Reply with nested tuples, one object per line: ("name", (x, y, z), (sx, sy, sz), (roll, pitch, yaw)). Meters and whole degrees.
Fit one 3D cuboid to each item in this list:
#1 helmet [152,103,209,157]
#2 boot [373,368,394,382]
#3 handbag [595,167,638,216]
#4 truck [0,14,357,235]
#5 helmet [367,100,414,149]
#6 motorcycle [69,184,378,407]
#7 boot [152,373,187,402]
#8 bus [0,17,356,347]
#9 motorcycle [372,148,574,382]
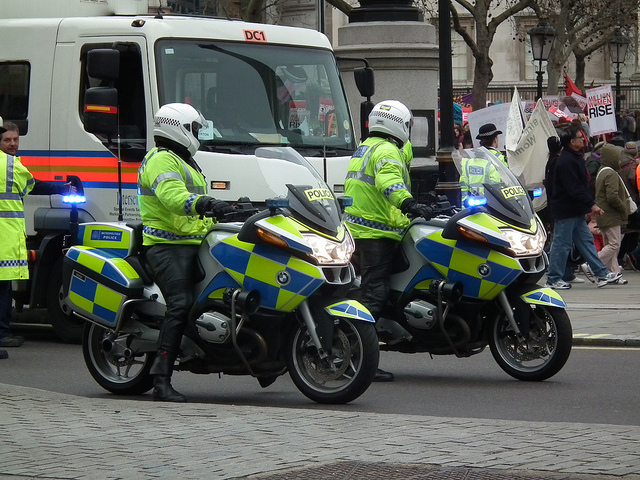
("helmet", (-1.199, -0.975, 6.736), (0.496, 0.476, 0.382), (3, 4, -22))
("boot", (0.627, 1.333, 7.658), (0.205, 0.148, 0.090), (-4, 14, 3))
("handbag", (5.893, -1.019, 15.153), (0.356, 1.058, 0.624), (-25, 8, -7))
("truck", (-2.514, -1.410, 10.515), (2.745, 2.273, 3.991), (-2, 0, -41))
("helmet", (0.704, -1.175, 7.722), (0.434, 0.530, 0.528), (17, 18, 32))
("motorcycle", (-0.929, 0.487, 6.635), (2.875, 1.744, 0.941), (-1, -6, 22))
("boot", (-1.252, 1.230, 6.445), (0.364, 0.272, 0.148), (2, 2, 21))
("bus", (-2.605, -1.152, 11.077), (3.141, 3.256, 5.094), (-1, 0, -36))
("motorcycle", (1.446, 0.272, 7.316), (1.704, 2.178, 0.544), (0, 4, 3))
